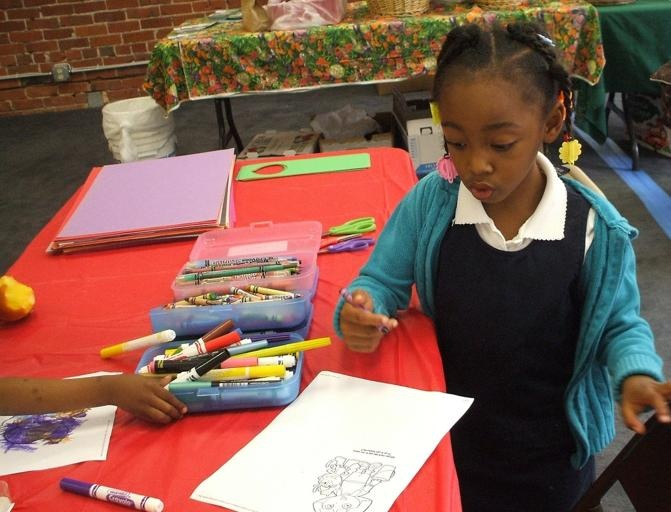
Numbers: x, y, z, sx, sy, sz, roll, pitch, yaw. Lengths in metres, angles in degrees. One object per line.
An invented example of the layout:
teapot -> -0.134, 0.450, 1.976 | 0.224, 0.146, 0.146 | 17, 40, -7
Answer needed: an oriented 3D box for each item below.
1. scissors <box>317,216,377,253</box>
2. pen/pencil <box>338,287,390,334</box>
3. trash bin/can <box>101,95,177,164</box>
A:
scissors -> 0.033, -0.046, 1.219 | 0.156, 0.010, 0.060 | -14, 33, -8
pen/pencil -> 0.047, 0.095, 0.883 | 0.097, 0.024, 0.023 | 42, 96, 23
trash bin/can -> -1.166, -0.714, 3.075 | 0.462, 0.342, 0.456 | -2, 32, 0
